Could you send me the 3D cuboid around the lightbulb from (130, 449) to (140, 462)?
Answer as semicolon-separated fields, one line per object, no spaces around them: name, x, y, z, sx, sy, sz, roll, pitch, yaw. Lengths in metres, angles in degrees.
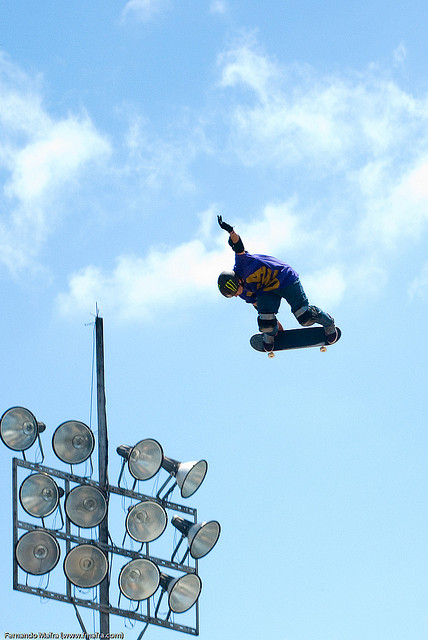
lightbulb;-1.838;3.116;37.006;0.222;0.252;0.169;8;-26;-24
